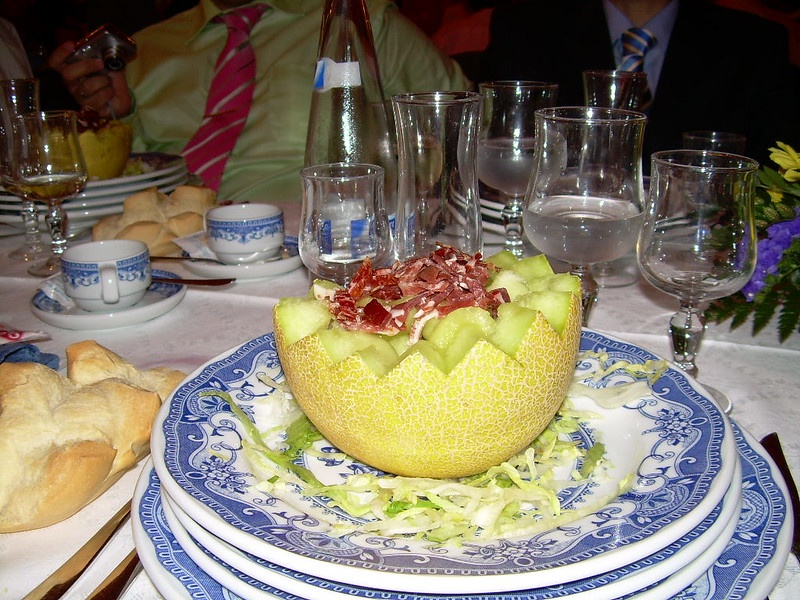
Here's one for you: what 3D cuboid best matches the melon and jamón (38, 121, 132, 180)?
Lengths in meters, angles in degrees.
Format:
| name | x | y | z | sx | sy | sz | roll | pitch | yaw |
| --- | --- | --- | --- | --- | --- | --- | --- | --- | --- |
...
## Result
| name | x | y | z | sx | sy | sz | roll | pitch | yaw |
| --- | --- | --- | --- | --- | --- | --- | --- | --- | --- |
| melon and jamón | -0.699 | -0.340 | 1.460 | 0.160 | 0.145 | 0.145 | 1 | 11 | -8 |

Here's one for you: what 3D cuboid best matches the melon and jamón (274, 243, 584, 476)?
| name | x | y | z | sx | sy | sz | roll | pitch | yaw |
| --- | --- | --- | --- | --- | --- | --- | --- | --- | --- |
| melon and jamón | 0.027 | 0.046 | 0.657 | 0.256 | 0.151 | 0.242 | 3 | 16 | 33 |

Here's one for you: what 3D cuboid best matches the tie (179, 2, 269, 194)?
| name | x | y | z | sx | sy | sz | roll | pitch | yaw |
| --- | --- | --- | --- | --- | --- | --- | --- | --- | --- |
| tie | -0.550 | -0.569 | 1.956 | 0.139 | 0.589 | 0.241 | 25 | 29 | 31 |

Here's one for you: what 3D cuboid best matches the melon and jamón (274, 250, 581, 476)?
| name | x | y | z | sx | sy | sz | roll | pitch | yaw |
| --- | --- | --- | --- | --- | --- | --- | --- | --- | --- |
| melon and jamón | 0.026 | 0.050 | 0.657 | 0.257 | 0.149 | 0.240 | 3 | 17 | 32 |
